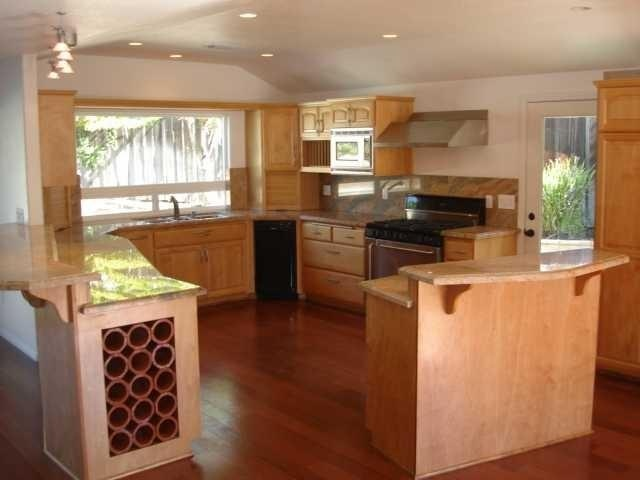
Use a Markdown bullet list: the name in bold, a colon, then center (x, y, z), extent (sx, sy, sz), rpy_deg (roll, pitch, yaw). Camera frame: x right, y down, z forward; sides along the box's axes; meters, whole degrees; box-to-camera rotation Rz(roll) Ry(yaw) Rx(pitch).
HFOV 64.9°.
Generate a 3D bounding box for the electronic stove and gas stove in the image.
- **electronic stove and gas stove**: center (1.097, -0.109, 5.877), extent (0.992, 0.201, 0.583), rpy_deg (9, 15, 44)

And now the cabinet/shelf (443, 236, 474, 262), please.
- **cabinet/shelf**: center (1.438, 0.071, 5.348), extent (0.259, 0.345, 0.272), rpy_deg (-3, 5, -38)

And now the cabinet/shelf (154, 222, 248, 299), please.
- **cabinet/shelf**: center (-1.688, 0.301, 6.665), extent (0.528, 1.063, 1.465), rpy_deg (9, 12, 43)

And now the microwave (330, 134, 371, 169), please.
- **microwave**: center (0.468, -1.149, 6.423), extent (0.315, 0.563, 0.721), rpy_deg (-11, 14, -42)

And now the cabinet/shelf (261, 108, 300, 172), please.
- **cabinet/shelf**: center (-0.677, -1.455, 7.224), extent (0.637, 0.900, 0.481), rpy_deg (-8, 16, -29)

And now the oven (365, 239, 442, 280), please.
- **oven**: center (0.998, 0.197, 5.938), extent (0.864, 0.501, 0.488), rpy_deg (10, 20, 22)

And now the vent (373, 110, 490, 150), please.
- **vent**: center (1.301, -1.321, 5.923), extent (1.110, 0.439, 0.603), rpy_deg (9, 15, 43)
